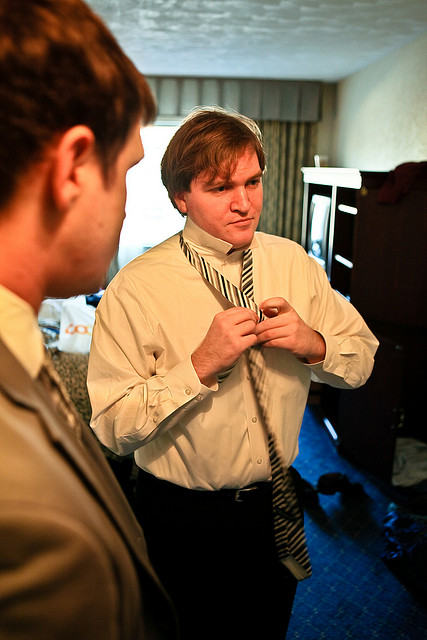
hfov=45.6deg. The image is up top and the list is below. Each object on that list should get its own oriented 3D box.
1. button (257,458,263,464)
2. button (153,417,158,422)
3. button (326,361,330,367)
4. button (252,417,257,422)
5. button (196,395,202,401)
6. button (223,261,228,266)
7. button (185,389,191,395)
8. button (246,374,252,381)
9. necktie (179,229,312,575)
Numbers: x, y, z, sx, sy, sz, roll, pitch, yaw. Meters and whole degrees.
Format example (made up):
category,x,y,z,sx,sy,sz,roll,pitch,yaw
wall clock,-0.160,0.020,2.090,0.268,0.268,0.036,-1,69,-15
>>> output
category,x,y,z,sx,sy,sz,roll,pitch,yaw
button,0.107,0.328,1.185,0.011,0.010,0.003,2,-5,-14
button,-0.125,0.214,1.094,0.010,0.011,0.001,2,14,16
button,0.281,0.107,1.233,0.008,0.002,0.008,-35,13,21
button,0.096,0.233,1.197,0.012,0.012,0.003,0,-7,-11
button,-0.032,0.167,1.096,0.012,0.012,0.003,0,4,-14
button,0.032,-0.146,1.306,0.010,0.009,0.002,-5,-5,-23
button,-0.054,0.153,1.084,0.011,0.011,0.002,-2,14,-2
button,0.085,0.135,1.210,0.012,0.011,0.003,-2,-8,-17
necktie,0.106,0.213,1.217,0.228,0.838,0.038,-13,12,-28
